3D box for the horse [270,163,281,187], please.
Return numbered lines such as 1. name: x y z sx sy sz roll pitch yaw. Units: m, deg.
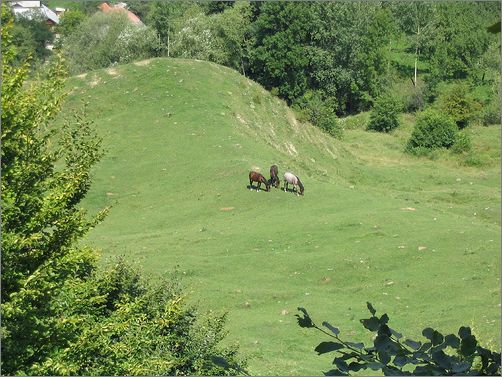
1. horse: 3.366 -1.448 137.520 1.237 3.083 1.140 -5 15 4
